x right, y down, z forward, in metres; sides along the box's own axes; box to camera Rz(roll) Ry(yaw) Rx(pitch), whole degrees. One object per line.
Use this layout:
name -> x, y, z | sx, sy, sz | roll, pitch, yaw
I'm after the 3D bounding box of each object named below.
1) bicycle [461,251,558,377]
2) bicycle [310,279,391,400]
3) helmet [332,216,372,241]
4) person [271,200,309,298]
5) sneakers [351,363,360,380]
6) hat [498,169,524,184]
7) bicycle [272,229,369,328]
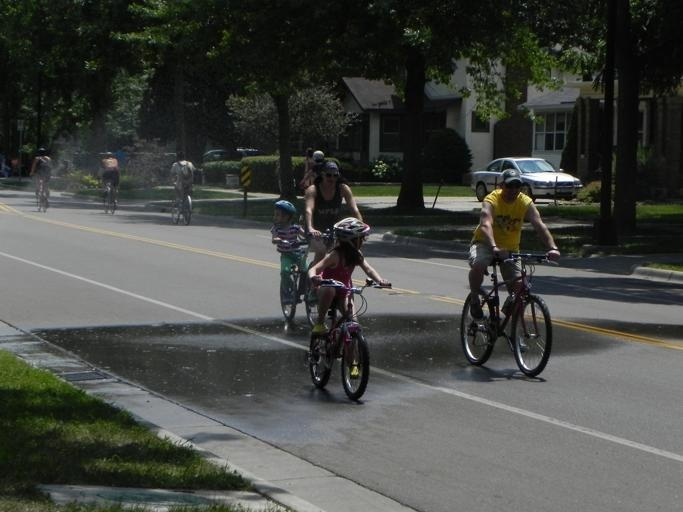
bicycle -> 1.987, 0.661, 12.272 | 0.502, 1.416, 1.393 | -5, 6, -40
bicycle -> -0.055, 1.009, 11.259 | 0.658, 0.943, 1.386 | 2, -3, -19
helmet -> 0.101, -0.288, 11.189 | 0.318, 0.193, 0.235 | 7, 11, -1
person -> -0.697, -0.066, 14.550 | 0.482, 1.416, 1.404 | -8, -5, -5
sneakers -> 0.134, 1.219, 10.920 | 0.105, 0.173, 0.052 | 1, 5, 17
hat -> 2.018, -0.958, 12.311 | 0.164, 0.134, 0.248 | 1, -3, -6
bicycle -> -0.600, 0.290, 13.887 | 0.940, 1.007, 1.545 | 1, -2, -25
